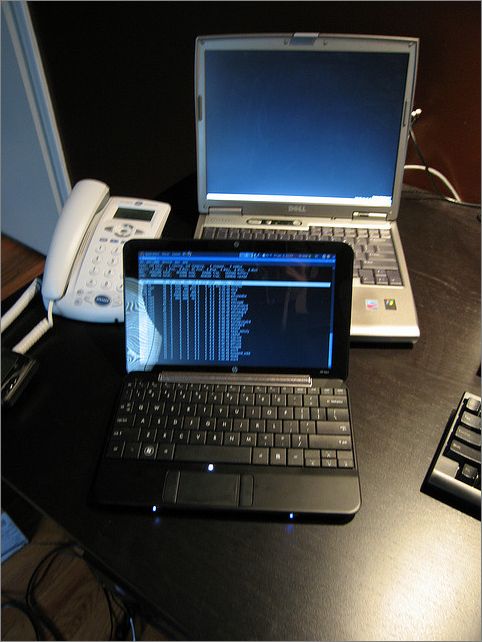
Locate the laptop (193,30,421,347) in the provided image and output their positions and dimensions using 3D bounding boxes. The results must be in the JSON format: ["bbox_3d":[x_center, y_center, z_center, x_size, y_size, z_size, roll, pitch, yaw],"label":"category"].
[{"bbox_3d":[0.101,-0.209,0.838,0.347,0.317,0.468,3,60,3],"label":"laptop"}]

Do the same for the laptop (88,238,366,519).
[{"bbox_3d":[-0.014,0.086,0.485,0.251,0.180,0.289,2,53,2],"label":"laptop"}]

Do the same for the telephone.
[{"bbox_3d":[-0.220,-0.095,0.697,0.166,0.093,0.293,8,57,7],"label":"telephone"}]
